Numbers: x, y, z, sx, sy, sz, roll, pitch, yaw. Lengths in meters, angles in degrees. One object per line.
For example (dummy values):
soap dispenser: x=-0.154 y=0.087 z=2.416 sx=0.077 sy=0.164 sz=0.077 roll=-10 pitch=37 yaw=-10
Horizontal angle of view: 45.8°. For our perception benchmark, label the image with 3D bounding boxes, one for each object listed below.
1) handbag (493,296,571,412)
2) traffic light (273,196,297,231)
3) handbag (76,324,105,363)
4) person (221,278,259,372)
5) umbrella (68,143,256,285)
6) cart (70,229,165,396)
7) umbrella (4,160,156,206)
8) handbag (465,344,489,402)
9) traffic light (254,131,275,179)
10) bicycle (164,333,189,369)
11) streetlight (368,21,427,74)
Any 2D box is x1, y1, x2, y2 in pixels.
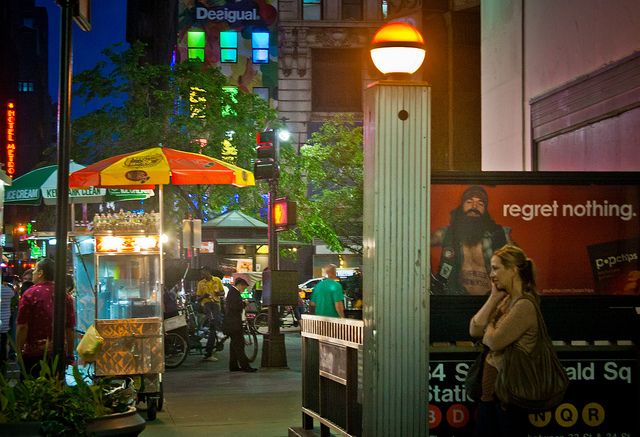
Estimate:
handbag: x=2.257 y=1.255 z=7.448 sx=0.525 sy=0.965 sz=0.724 roll=-20 pitch=21 yaw=35
traffic light: x=-0.814 y=-0.109 z=17.076 sx=0.274 sy=0.809 sz=0.813 roll=3 pitch=-9 yaw=-33
handbag: x=-2.914 y=1.702 z=9.926 sx=0.166 sy=0.422 sz=0.349 roll=-32 pitch=28 yaw=-34
person: x=-1.912 y=2.462 z=17.846 sx=0.714 sy=2.112 sz=1.367 roll=1 pitch=-4 yaw=-7
umbrella: x=-2.614 y=-0.255 z=12.836 sx=2.466 sy=2.036 sz=2.495 roll=-4 pitch=-5 yaw=10
cart: x=-3.159 y=1.649 z=12.874 sx=1.384 sy=2.459 sz=1.247 roll=-1 pitch=-10 yaw=-4
umbrella: x=-5.660 y=-0.612 z=16.577 sx=2.102 sy=0.716 sz=1.967 roll=-1 pitch=-5 yaw=2
handbag: x=1.592 y=1.557 z=7.650 sx=0.322 sy=0.593 sz=0.221 roll=-1 pitch=-4 yaw=34
traffic light: x=-1.278 y=-1.478 z=17.581 sx=0.698 sy=1.070 sz=0.307 roll=-3 pitch=-5 yaw=44
bicycle: x=-3.374 y=3.087 z=17.775 sx=0.529 sy=0.822 sz=0.528 roll=3 pitch=-4 yaw=-22
streetlight: x=0.839 y=-1.772 z=8.162 sx=0.556 sy=0.488 sz=0.550 roll=0 pitch=-3 yaw=2
